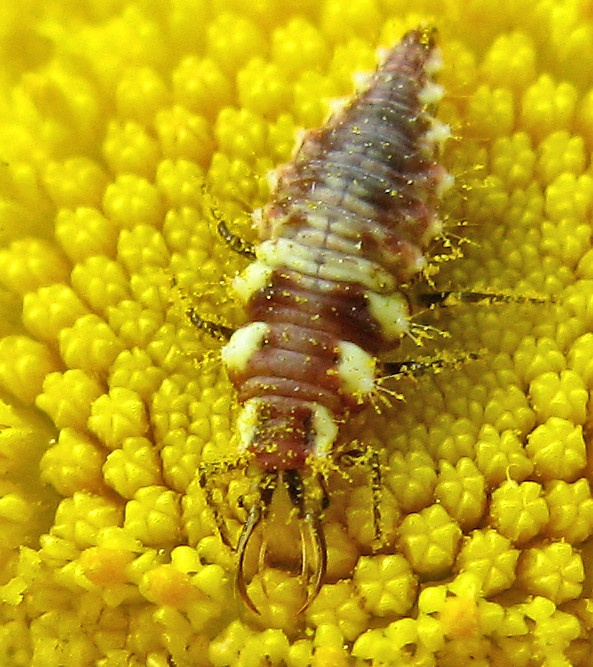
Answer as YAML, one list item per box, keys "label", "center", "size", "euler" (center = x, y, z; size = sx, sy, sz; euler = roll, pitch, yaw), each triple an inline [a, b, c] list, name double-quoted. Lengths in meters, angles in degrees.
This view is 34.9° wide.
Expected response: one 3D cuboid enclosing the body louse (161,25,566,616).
- label: "body louse"
  center: [0.132, -0.096, 2.306]
  size: [0.585, 0.384, 1.404]
  euler: [12, 63, 5]
